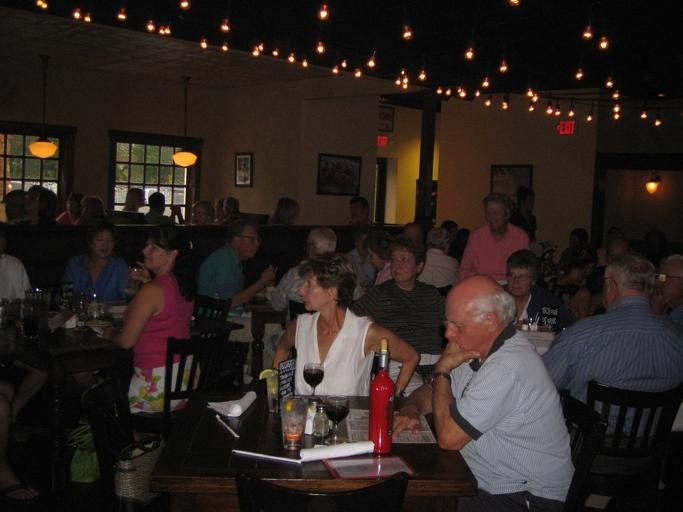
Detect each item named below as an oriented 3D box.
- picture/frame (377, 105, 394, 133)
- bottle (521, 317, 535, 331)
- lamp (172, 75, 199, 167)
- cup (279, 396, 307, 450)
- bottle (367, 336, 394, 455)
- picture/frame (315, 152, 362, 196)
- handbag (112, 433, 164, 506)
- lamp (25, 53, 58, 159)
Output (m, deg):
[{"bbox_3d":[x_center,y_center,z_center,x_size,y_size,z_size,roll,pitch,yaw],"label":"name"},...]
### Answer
[{"bbox_3d":[1.165,-3.527,15.016,0.582,0.719,0.083,0,4,-41],"label":"picture/frame"},{"bbox_3d":[1.371,0.514,4.270,0.053,0.072,0.161,5,6,28],"label":"bottle"},{"bbox_3d":[-3.185,-2.740,11.949,0.511,1.822,1.364,2,3,-16],"label":"lamp"},{"bbox_3d":[-0.208,0.702,2.495,0.108,0.195,0.235,2,3,-7],"label":"cup"},{"bbox_3d":[0.168,0.583,2.430,0.101,0.470,0.123,3,3,3],"label":"bottle"},{"bbox_3d":[-0.123,-1.659,11.715,0.868,0.763,0.084,2,-3,-34],"label":"picture/frame"},{"bbox_3d":[-1.036,1.134,2.964,0.150,0.359,0.263,4,3,29],"label":"handbag"},{"bbox_3d":[-5.355,-2.643,10.441,0.463,1.777,1.169,1,3,-27],"label":"lamp"}]
